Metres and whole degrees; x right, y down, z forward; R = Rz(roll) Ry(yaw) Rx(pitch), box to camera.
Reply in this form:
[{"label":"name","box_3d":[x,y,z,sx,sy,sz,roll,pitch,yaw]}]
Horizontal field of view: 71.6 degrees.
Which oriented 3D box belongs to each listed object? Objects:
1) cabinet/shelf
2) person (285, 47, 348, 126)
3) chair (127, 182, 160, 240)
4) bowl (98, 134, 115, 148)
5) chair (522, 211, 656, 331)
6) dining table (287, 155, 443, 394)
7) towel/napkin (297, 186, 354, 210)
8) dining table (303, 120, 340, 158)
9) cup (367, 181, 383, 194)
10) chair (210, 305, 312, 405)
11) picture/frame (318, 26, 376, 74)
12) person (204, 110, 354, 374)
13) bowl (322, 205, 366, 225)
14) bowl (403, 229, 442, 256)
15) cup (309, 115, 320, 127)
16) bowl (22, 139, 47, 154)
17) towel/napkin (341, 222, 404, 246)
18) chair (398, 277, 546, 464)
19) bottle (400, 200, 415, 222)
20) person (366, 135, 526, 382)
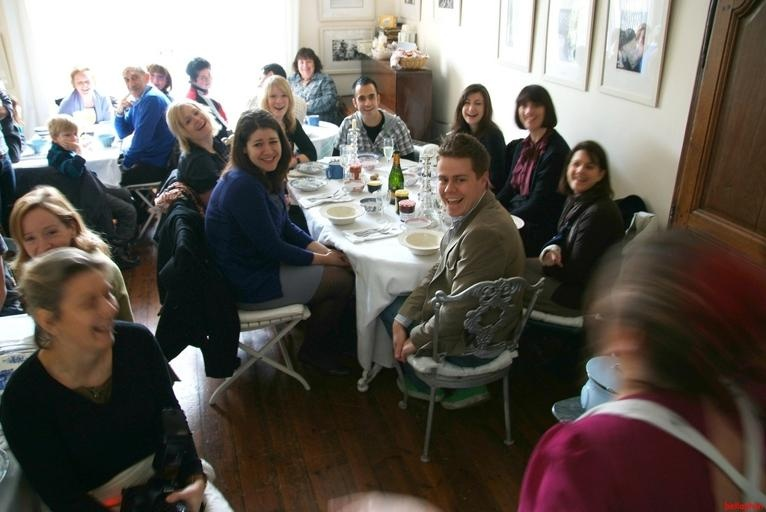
[{"label":"cabinet/shelf","box_3d":[0.192,-1.709,5.758,0.431,1.187,1.251,-10,28,-16]},{"label":"person","box_3d":[-0.934,-2.148,6.636,0.868,0.791,0.529,22,47,33]},{"label":"chair","box_3d":[-2.140,-0.410,4.739,0.369,0.402,0.408,-12,32,-28]},{"label":"bowl","box_3d":[-2.548,-1.058,4.912,0.110,0.080,0.108,-2,4,0]},{"label":"chair","box_3d":[1.201,0.012,3.091,0.714,0.813,0.591,12,38,28]},{"label":"dining table","box_3d":[-0.083,0.022,3.328,0.680,0.352,1.424,-14,47,-7]},{"label":"towel/napkin","box_3d":[-0.391,-0.384,3.595,0.254,0.037,0.171,-13,31,-18]},{"label":"dining table","box_3d":[-0.581,-1.065,5.188,0.404,0.257,0.409,-4,46,-1]},{"label":"cup","box_3d":[-0.060,-0.462,3.581,0.084,0.061,0.077,0,17,0]},{"label":"chair","box_3d":[-0.719,0.489,3.260,0.576,0.488,0.593,-6,29,-15]},{"label":"picture/frame","box_3d":[-0.514,-2.895,7.391,0.952,0.810,0.078,-3,22,-13]},{"label":"person","box_3d":[-0.589,-0.034,3.210,0.860,1.593,0.596,-5,10,-6]},{"label":"bowl","box_3d":[-0.255,-0.279,3.366,0.158,0.039,0.169,1,38,-1]},{"label":"bowl","box_3d":[0.223,-0.085,3.020,0.156,0.043,0.159,-1,41,1]},{"label":"cup","box_3d":[-0.688,-1.375,5.320,0.108,0.084,0.112,5,44,-5]},{"label":"bowl","box_3d":[-3.049,-0.970,4.706,0.149,0.075,0.150,2,12,0]},{"label":"towel/napkin","box_3d":[-0.035,-0.137,3.133,0.267,0.047,0.148,-14,31,-15]},{"label":"chair","box_3d":[0.422,0.600,2.727,0.622,1.047,0.705,-4,28,-9]},{"label":"bottle","box_3d":[0.131,-0.283,3.291,0.113,0.121,0.115,-3,32,-5]},{"label":"person","box_3d":[0.409,-0.227,3.317,1.030,1.820,0.881,-1,16,1]}]
